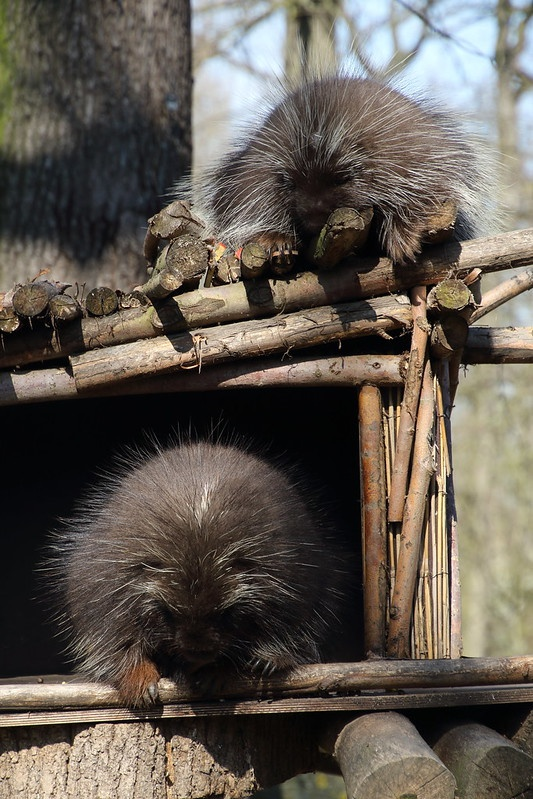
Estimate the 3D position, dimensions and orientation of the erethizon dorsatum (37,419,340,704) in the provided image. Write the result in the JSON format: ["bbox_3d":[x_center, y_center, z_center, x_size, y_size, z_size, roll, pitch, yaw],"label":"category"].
[{"bbox_3d":[-0.506,0.837,8.543,1.240,1.018,1.672,-2,9,-24],"label":"erethizon dorsatum"}]

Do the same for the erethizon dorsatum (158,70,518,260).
[{"bbox_3d":[0.493,-1.143,8.248,1.291,0.745,1.033,2,4,44],"label":"erethizon dorsatum"}]
